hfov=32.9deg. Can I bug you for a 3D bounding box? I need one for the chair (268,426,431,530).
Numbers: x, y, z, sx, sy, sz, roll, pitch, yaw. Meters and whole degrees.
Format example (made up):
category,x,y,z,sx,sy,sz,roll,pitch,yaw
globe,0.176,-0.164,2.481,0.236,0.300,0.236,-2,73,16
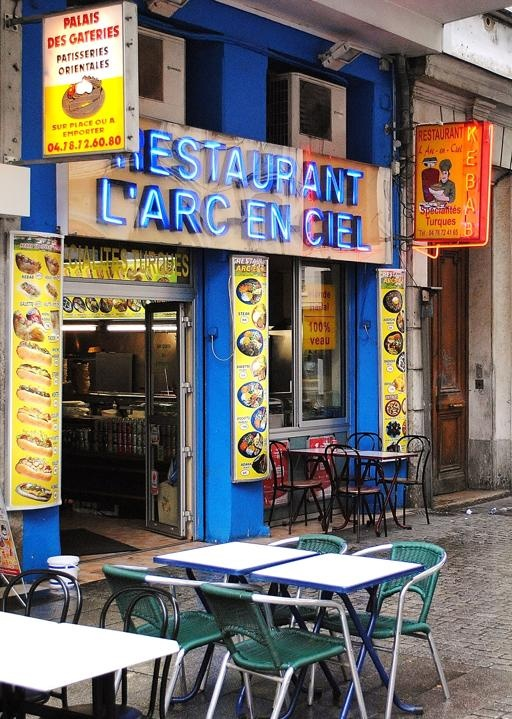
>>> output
category,x,y,z,sx,sy,sz,roll,pitch,yaw
chair,1.010,1.285,9.207,0.979,1.783,0.955,-2,-4,44
